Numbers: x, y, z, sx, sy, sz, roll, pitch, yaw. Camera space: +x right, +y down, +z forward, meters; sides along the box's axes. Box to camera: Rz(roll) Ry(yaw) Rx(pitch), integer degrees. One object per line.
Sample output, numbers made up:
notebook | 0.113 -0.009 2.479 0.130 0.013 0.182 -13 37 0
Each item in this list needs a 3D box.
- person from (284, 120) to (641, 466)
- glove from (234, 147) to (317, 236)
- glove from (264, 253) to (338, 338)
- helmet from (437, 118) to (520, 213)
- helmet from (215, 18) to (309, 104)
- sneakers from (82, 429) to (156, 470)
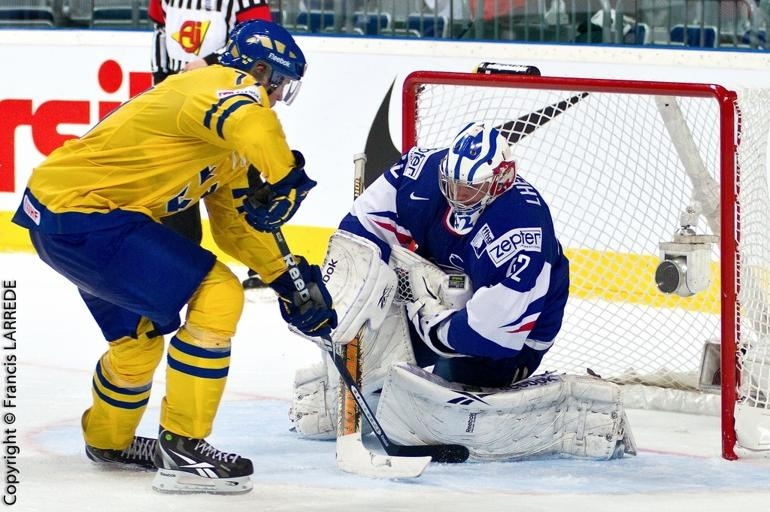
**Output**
person | 0.494 0.235 5.712 0.903 1.309 1.452 -16 28 -40
glove | -0.445 -0.289 4.823 0.336 0.335 0.156 45 28 -2
glove | -0.325 0.151 5.020 0.316 0.340 0.145 -37 -9 37
helmet | 0.475 -0.414 5.380 0.346 0.419 0.343 31 -20 32
helmet | -0.560 -0.903 4.896 0.363 0.308 0.317 3 32 -15
sneakers | -1.187 0.892 5.062 0.422 0.143 0.163 1 -20 -11
